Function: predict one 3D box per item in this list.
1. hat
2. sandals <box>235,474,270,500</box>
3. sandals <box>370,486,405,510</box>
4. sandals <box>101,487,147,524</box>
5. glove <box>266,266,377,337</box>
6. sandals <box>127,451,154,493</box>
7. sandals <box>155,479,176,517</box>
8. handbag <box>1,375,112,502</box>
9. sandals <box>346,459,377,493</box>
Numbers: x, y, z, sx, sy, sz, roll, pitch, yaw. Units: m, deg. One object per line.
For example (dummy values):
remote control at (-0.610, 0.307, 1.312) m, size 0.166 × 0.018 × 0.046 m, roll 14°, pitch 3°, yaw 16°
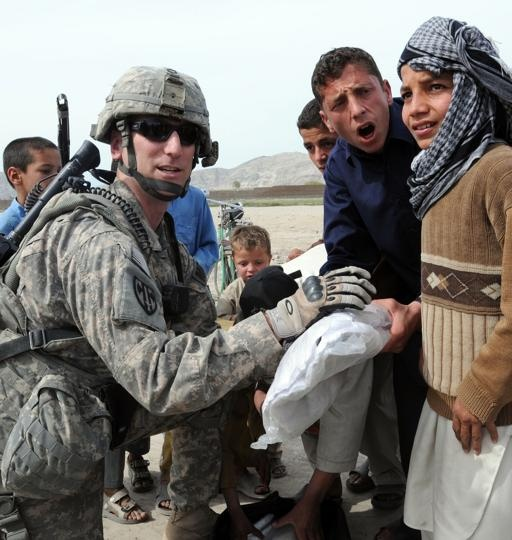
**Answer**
hat at (0.088, 0.104, 2.788) m, size 0.229 × 0.111 × 0.276 m, roll 5°, pitch 48°, yaw 34°
sandals at (-0.018, 1.175, 3.177) m, size 0.173 × 0.049 × 0.151 m, roll -2°, pitch 19°, yaw -14°
sandals at (0.672, 1.135, 2.973) m, size 0.109 × 0.041 × 0.144 m, roll 1°, pitch 5°, yaw 12°
sandals at (-0.678, 1.212, 3.043) m, size 0.272 × 0.101 × 0.110 m, roll 0°, pitch 2°, yaw 41°
glove at (0.255, 0.137, 2.184) m, size 0.369 × 0.139 × 0.212 m, roll -27°, pitch 46°, yaw 4°
sandals at (-0.662, 1.140, 3.339) m, size 0.114 × 0.089 × 0.273 m, roll -2°, pitch 13°, yaw -21°
sandals at (-0.475, 1.199, 3.109) m, size 0.137 × 0.105 × 0.326 m, roll 1°, pitch -7°, yaw -5°
handbag at (-0.736, 0.598, 2.102) m, size 0.302 × 0.423 × 0.316 m, roll 29°, pitch -23°, yaw 14°
sandals at (0.574, 1.126, 3.179) m, size 0.085 × 0.057 × 0.225 m, roll -1°, pitch -2°, yaw 35°
